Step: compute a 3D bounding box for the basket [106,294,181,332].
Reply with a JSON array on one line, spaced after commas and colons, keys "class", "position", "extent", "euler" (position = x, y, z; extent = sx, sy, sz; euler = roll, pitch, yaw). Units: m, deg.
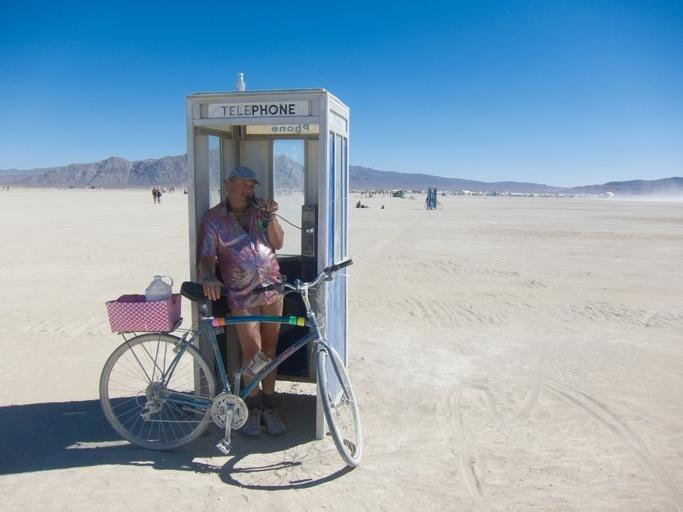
[{"class": "basket", "position": [-1.833, 0.526, 5.228], "extent": [0.555, 0.269, 0.395], "euler": [0, 3, -1]}]

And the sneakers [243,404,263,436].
[{"class": "sneakers", "position": [-0.911, 1.689, 5.897], "extent": [0.184, 0.212, 0.560], "euler": [6, 7, -7]}]

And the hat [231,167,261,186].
[{"class": "hat", "position": [-0.990, -0.812, 5.643], "extent": [0.170, 0.119, 0.236], "euler": [11, -6, -41]}]
